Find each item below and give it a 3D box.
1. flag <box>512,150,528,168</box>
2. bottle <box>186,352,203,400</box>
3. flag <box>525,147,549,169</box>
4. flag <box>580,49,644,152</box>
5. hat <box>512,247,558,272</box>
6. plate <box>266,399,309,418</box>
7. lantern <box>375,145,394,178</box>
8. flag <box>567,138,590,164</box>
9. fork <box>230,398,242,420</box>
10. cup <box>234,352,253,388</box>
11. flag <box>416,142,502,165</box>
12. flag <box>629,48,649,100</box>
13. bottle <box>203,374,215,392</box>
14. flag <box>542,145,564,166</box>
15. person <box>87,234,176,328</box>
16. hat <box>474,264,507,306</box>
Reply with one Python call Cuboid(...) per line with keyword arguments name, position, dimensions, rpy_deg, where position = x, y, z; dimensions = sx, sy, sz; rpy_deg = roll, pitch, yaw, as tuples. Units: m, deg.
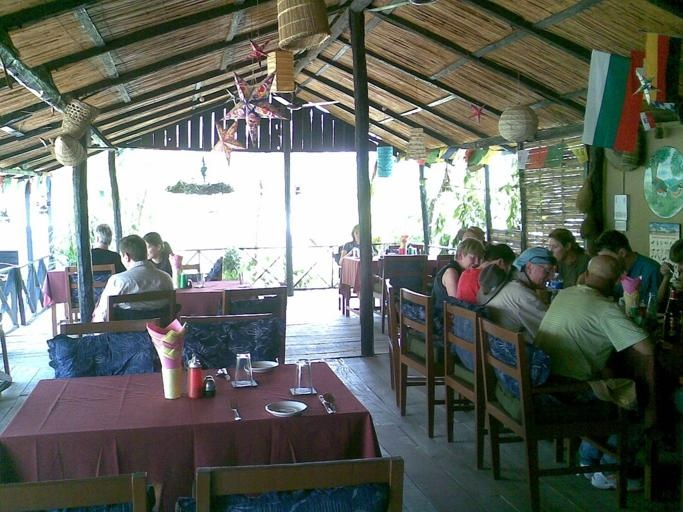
Cuboid(name="flag", position=(2.693, -1.435, 8.724), dimensions=(0.065, 0.234, 0.242), rpy_deg=(7, 9, -24))
Cuboid(name="bottle", position=(-0.822, 0.662, 3.261), dimensions=(0.082, 0.225, 0.167), rpy_deg=(-2, 4, -15))
Cuboid(name="flag", position=(2.839, -1.402, 8.420), dimensions=(0.029, 0.259, 0.282), rpy_deg=(15, 14, -23))
Cuboid(name="flag", position=(2.309, -1.319, 4.951), dimensions=(0.448, 0.824, 0.252), rpy_deg=(0, 4, 21))
Cuboid(name="hat", position=(1.461, 0.016, 4.509), dimensions=(0.234, 0.166, 0.315), rpy_deg=(5, -3, -43))
Cuboid(name="plate", position=(-0.279, 0.792, 3.050), dimensions=(0.230, 0.040, 0.171), rpy_deg=(-3, 4, -23))
Cuboid(name="lantern", position=(0.839, -1.835, 11.342), dimensions=(0.291, 0.614, 0.311), rpy_deg=(-1, 4, 0))
Cuboid(name="flag", position=(3.107, -1.366, 7.605), dimensions=(0.070, 0.275, 0.290), rpy_deg=(-18, 31, -22))
Cuboid(name="fork", position=(-0.545, 0.802, 3.023), dimensions=(0.030, 0.035, 0.233), rpy_deg=(0, 15, -14))
Cuboid(name="cup", position=(-0.559, 0.678, 3.446), dimensions=(0.155, 0.179, 0.160), rpy_deg=(2, 14, 0))
Cuboid(name="flag", position=(2.116, -1.776, 10.292), dimensions=(0.367, 0.423, 1.870), rpy_deg=(-3, 4, -27))
Cuboid(name="flag", position=(2.457, -1.469, 4.789), dimensions=(0.050, 0.361, 0.260), rpy_deg=(7, -23, -12))
Cuboid(name="bottle", position=(-0.732, 0.713, 3.273), dimensions=(0.070, 0.103, 0.073), rpy_deg=(-1, 0, 0))
Cuboid(name="flag", position=(2.957, -1.389, 8.099), dimensions=(0.035, 0.272, 0.262), rpy_deg=(2, 10, -21))
Cuboid(name="person", position=(-2.005, 0.247, 5.526), dimensions=(0.700, 0.963, 0.498), rpy_deg=(-7, 21, -23))
Cuboid(name="hat", position=(1.066, 0.230, 4.221), dimensions=(0.103, 0.276, 0.229), rpy_deg=(27, 12, -14))
